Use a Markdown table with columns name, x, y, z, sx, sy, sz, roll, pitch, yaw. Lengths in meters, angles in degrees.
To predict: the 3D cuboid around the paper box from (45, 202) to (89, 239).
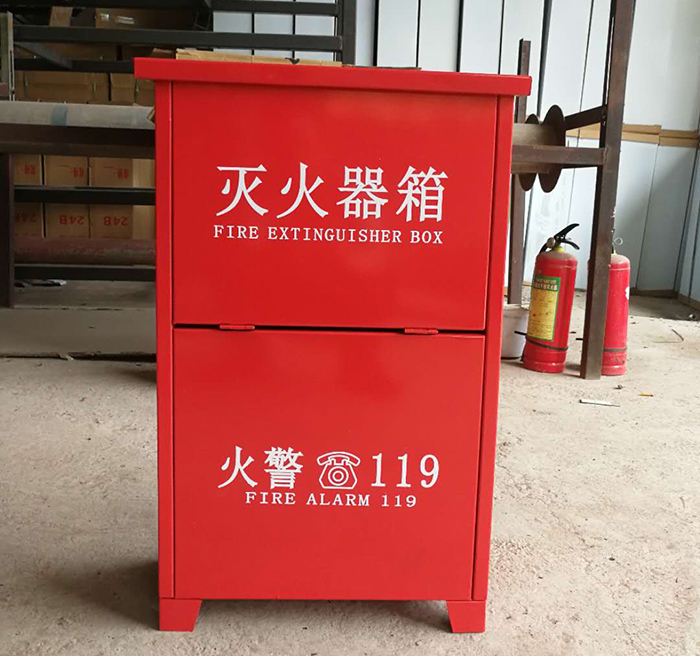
| name | x | y | z | sx | sy | sz | roll | pitch | yaw |
| --- | --- | --- | --- | --- | --- | --- | --- | --- | --- |
| paper box | -2.046 | -0.777 | 5.103 | 0.342 | 0.249 | 0.082 | 5 | 14 | 11 |

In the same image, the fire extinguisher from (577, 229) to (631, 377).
| name | x | y | z | sx | sy | sz | roll | pitch | yaw |
| --- | --- | --- | --- | --- | --- | --- | --- | --- | --- |
| fire extinguisher | 1.592 | -0.121 | 4.195 | 0.177 | 0.814 | 0.415 | 8 | 15 | 20 |

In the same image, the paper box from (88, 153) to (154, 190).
| name | x | y | z | sx | sy | sz | roll | pitch | yaw |
| --- | --- | --- | --- | --- | --- | --- | --- | --- | --- |
| paper box | -1.581 | -1.074 | 4.844 | 0.397 | 0.158 | 0.270 | -1 | 7 | -11 |

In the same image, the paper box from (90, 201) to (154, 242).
| name | x | y | z | sx | sy | sz | roll | pitch | yaw |
| --- | --- | --- | --- | --- | --- | --- | --- | --- | --- |
| paper box | -1.649 | -0.749 | 5.049 | 0.352 | 0.180 | 0.320 | 0 | 5 | -1 |

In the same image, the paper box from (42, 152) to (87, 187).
| name | x | y | z | sx | sy | sz | roll | pitch | yaw |
| --- | --- | --- | --- | --- | --- | --- | --- | --- | --- |
| paper box | -1.936 | -1.074 | 4.805 | 0.309 | 0.157 | 0.272 | 1 | 11 | -5 |

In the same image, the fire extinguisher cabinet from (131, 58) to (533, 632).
| name | x | y | z | sx | sy | sz | roll | pitch | yaw |
| --- | --- | --- | --- | --- | --- | --- | --- | --- | --- |
| fire extinguisher cabinet | -0.044 | -0.051 | 2.590 | 1.263 | 1.812 | 1.391 | 2 | 7 | 0 |

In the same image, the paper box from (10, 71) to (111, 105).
| name | x | y | z | sx | sy | sz | roll | pitch | yaw |
| --- | --- | --- | --- | --- | --- | --- | --- | --- | --- |
| paper box | -2.280 | -1.933 | 5.614 | 0.695 | 0.244 | 0.296 | -1 | 14 | -16 |
